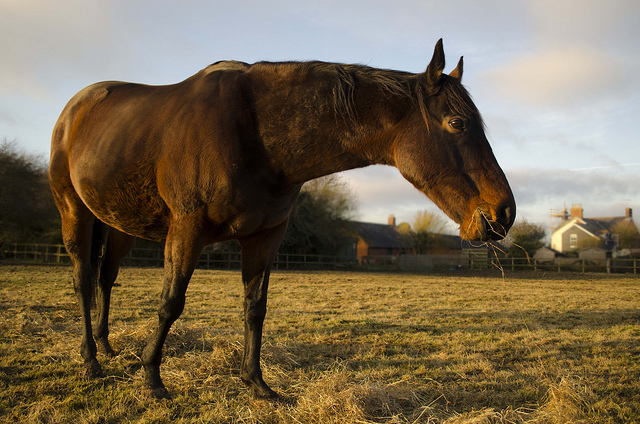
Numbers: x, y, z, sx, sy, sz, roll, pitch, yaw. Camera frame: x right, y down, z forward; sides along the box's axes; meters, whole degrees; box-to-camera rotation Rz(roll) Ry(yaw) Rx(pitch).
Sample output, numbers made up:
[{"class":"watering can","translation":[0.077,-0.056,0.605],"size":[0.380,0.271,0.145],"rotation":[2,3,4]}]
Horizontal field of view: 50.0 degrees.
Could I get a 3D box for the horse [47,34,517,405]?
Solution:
[{"class":"horse","translation":[-1.431,0.311,10.492],"size":[8.123,5.364,2.482],"rotation":[5,3,32]}]
